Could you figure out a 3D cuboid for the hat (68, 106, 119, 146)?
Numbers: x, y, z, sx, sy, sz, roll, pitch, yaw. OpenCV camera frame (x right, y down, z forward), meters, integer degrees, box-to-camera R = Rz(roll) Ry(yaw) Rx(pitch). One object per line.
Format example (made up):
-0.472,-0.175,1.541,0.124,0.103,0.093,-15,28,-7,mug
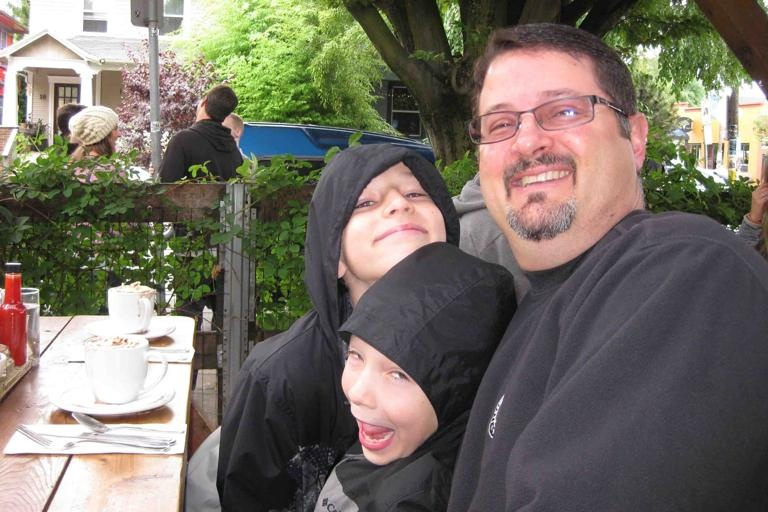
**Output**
-2.638,-1.213,5.652,0.379,0.396,0.467,-3,7,-31,hat

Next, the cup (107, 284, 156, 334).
-1.291,0.266,3.177,0.176,0.235,0.273,0,4,-22,cup

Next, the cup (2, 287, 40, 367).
-1.659,0.297,2.843,0.161,0.412,0.154,0,2,0,cup

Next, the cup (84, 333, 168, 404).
-1.044,0.449,2.641,0.375,0.259,0.276,0,1,11,cup
